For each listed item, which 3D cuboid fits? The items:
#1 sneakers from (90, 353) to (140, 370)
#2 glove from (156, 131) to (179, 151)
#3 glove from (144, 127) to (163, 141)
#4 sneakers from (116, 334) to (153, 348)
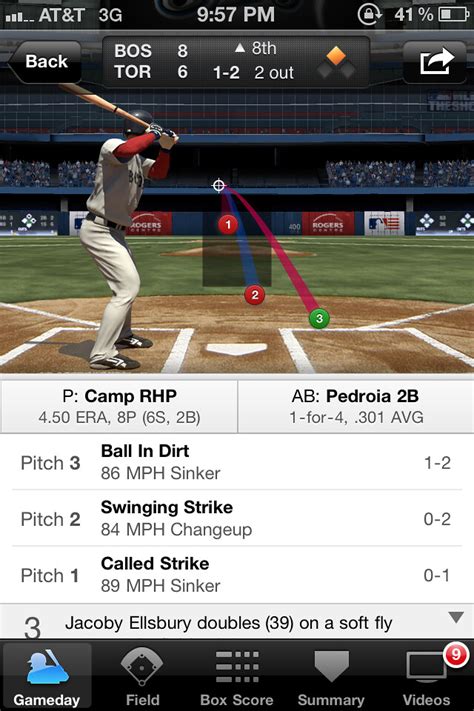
[{"bbox_3d":[-1.173,0.059,6.279,0.474,0.187,0.169,-1,17,-3],"label":"sneakers"},{"bbox_3d":[-0.655,-2.063,6.163,0.148,0.201,0.075,45,-6,11],"label":"glove"},{"bbox_3d":[-0.700,-1.932,5.601,0.144,0.045,0.143,-30,45,-32],"label":"glove"},{"bbox_3d":[-1.152,-0.144,7.367,0.438,0.173,0.155,-3,26,-5],"label":"sneakers"}]
